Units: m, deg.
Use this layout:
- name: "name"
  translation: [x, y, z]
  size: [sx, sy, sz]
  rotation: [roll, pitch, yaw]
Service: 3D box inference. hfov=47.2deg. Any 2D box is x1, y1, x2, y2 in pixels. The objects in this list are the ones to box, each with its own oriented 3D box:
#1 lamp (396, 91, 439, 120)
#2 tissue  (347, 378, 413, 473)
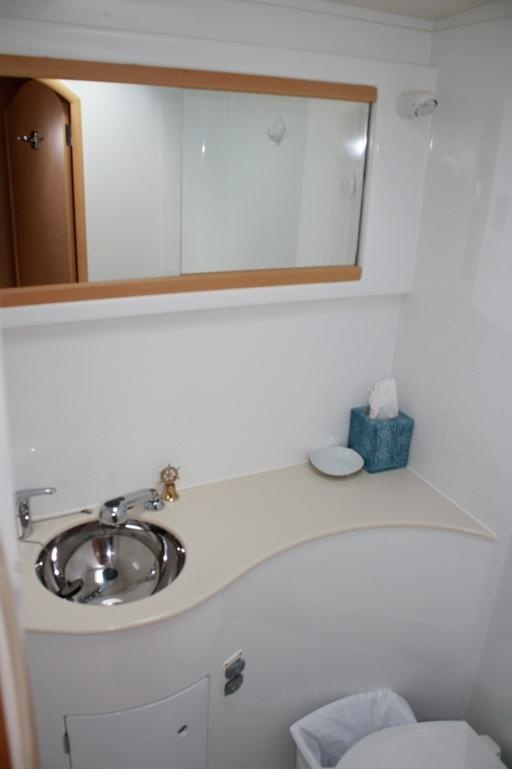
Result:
- name: "lamp"
  translation: [0.412, -0.695, 1.463]
  size: [0.100, 0.060, 0.111]
  rotation: [18, 22, 37]
- name: "tissue "
  translation: [0.381, 0.120, 1.782]
  size: [0.176, 0.284, 0.132]
  rotation: [0, 17, -13]
